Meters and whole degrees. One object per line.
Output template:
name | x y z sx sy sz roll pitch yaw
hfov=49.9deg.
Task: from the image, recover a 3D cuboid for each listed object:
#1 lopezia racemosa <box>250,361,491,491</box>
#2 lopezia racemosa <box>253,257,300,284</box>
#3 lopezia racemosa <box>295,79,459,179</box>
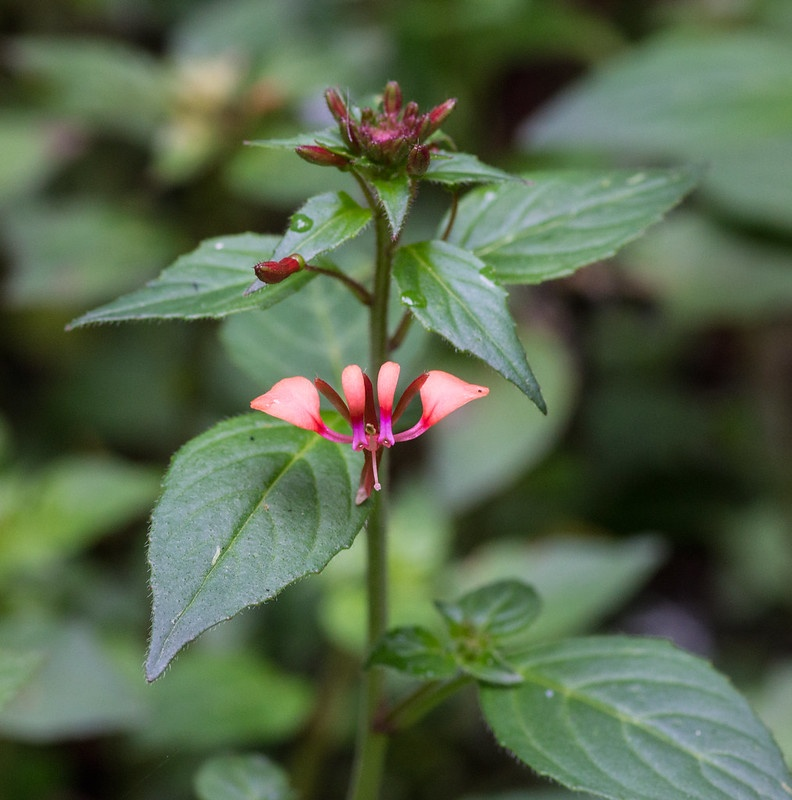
lopezia racemosa | -0.046 0.061 1.908 0.417 0.173 0.248 -5 80 5
lopezia racemosa | -0.204 -0.222 1.457 0.066 0.044 0.026 -27 34 6
lopezia racemosa | -0.028 -0.515 1.581 0.207 0.127 0.288 9 55 20
